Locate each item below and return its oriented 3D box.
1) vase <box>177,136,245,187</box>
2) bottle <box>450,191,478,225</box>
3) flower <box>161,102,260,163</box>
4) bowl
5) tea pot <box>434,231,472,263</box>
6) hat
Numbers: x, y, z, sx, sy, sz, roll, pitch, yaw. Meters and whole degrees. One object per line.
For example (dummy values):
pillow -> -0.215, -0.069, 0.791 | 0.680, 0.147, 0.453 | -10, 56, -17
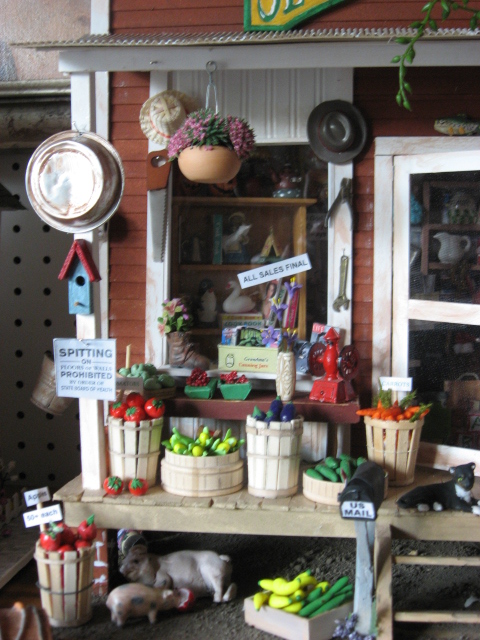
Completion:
vase -> -0.130, -0.669, 2.833 | 0.199, 0.148, 0.189 | -10, 17, -33
bottle -> 1.076, -0.539, 3.178 | 0.128, 0.151, 0.041 | 6, 4, 27
flower -> -0.126, -0.793, 2.822 | 0.377, 0.208, 0.185 | 2, 4, 2
bowl -> -0.666, -0.558, 2.640 | 0.363, 0.401, 0.132 | 2, 4, 5
tea pot -> 1.034, -0.347, 3.178 | 0.178, 0.146, 0.120 | 1, 4, 19
hat -> -0.371, -1.007, 3.246 | 0.293, 0.266, 0.093 | -14, -1, 4
